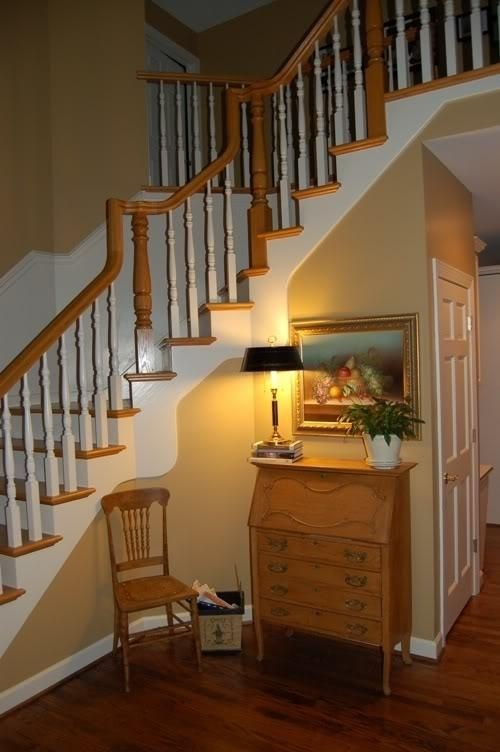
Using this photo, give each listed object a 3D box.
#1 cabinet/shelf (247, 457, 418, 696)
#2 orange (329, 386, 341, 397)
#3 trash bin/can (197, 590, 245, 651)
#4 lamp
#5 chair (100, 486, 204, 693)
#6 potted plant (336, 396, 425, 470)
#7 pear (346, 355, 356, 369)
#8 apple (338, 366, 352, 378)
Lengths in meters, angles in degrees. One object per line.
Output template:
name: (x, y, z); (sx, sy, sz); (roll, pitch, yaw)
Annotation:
cabinet/shelf: (0.398, 0.930, 3.099); (0.755, 1.023, 0.387); (1, 2, 31)
orange: (0.455, 0.084, 3.304); (0.051, 0.061, 0.054); (-4, -7, 10)
trash bin/can: (-0.148, 1.296, 3.347); (0.226, 0.364, 0.261); (1, -6, -1)
lamp: (0.124, 0.114, 3.279); (0.333, 0.522, 0.329); (-2, 3, -15)
chair: (-0.504, 1.024, 3.148); (0.473, 0.985, 0.760); (-2, 1, -14)
potted plant: (0.634, 0.261, 2.987); (0.334, 0.313, 0.344); (-3, -3, 28)
pear: (0.532, -0.074, 3.260); (0.036, 0.062, 0.028); (16, 16, 19)
apple: (0.503, -0.016, 3.275); (0.056, 0.055, 0.056); (-10, 1, -28)
